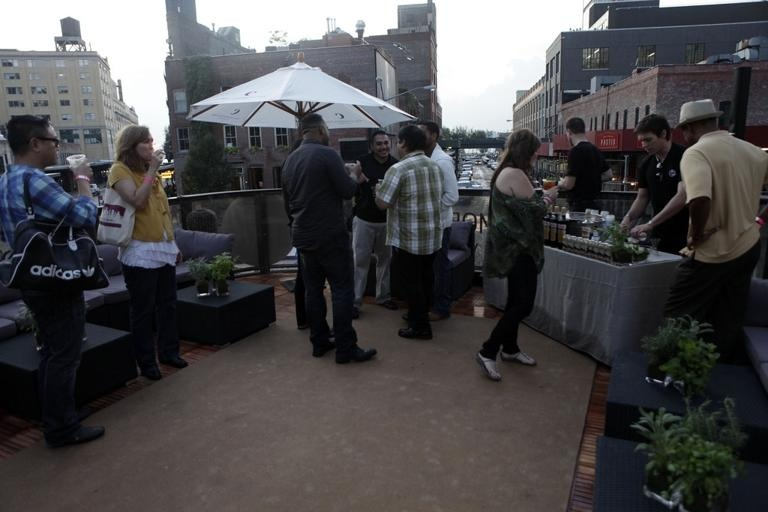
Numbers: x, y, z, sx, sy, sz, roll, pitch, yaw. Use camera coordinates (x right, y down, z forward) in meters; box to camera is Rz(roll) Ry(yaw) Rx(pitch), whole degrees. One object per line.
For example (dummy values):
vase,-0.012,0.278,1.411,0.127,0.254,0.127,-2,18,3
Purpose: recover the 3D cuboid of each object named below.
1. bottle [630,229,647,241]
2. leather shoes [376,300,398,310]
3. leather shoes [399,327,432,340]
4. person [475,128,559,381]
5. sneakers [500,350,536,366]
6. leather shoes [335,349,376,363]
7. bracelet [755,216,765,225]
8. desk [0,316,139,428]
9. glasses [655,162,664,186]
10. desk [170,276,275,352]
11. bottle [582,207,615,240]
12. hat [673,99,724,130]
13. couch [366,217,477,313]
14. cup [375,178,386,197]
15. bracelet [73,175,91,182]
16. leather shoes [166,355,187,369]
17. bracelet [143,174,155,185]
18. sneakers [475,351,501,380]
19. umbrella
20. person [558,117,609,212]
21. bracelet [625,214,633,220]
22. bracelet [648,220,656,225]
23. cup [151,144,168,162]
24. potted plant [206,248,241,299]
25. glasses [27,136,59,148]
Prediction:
bottle,2.509,-0.207,4.778,0.147,0.134,0.107,4,16,23
leather shoes,0.033,0.647,6.473,0.293,0.132,0.112,0,6,17
leather shoes,0.366,0.885,5.589,0.378,0.169,0.145,6,4,7
person,1.182,-0.012,4.649,0.679,2.319,0.472,-7,15,-18
sneakers,1.372,1.031,5.001,0.368,0.153,0.137,1,9,15
leather shoes,-0.308,1.033,5.071,0.409,0.179,0.155,-6,8,-8
bracelet,3.330,-0.317,4.298,0.064,0.021,0.065,43,46,13
desk,-2.977,1.017,4.387,0.770,0.509,0.817,5,12,21
glasses,2.860,-0.876,5.057,0.033,0.143,0.116,5,2,7
desk,-1.948,0.635,5.605,0.752,0.407,0.775,7,13,36
bottle,2.332,-0.342,5.335,0.336,0.171,0.471,1,17,24
hat,2.758,-1.264,4.229,0.269,0.129,0.328,-18,1,44
couch,0.578,0.007,6.938,1.572,1.283,1.085,0,-1,24
cup,-0.043,-0.742,5.270,0.102,0.363,0.123,-4,37,-5
bracelet,-2.488,-0.635,3.963,0.063,0.026,0.065,11,1,15
leather shoes,-2.138,1.100,5.024,0.255,0.112,0.096,1,12,4
bracelet,-2.194,-0.717,4.495,0.078,0.064,0.081,1,8,4
sneakers,1.013,1.075,4.744,0.124,0.140,0.344,0,43,-40
umbrella,-0.873,-1.931,6.123,1.864,0.647,1.894,8,11,43
person,2.653,-1.211,6.425,0.679,1.203,0.454,1,15,11
bracelet,2.648,-0.419,5.235,0.046,0.064,0.040,-2,28,-16
bracelet,2.636,-0.321,4.792,0.013,0.052,0.050,35,-19,-30
cup,-2.126,-0.935,4.534,0.107,0.133,0.219,-9,17,-24
potted plant,-1.974,0.217,5.850,0.406,0.475,0.347,8,20,14
glasses,-2.585,-0.875,3.691,0.073,0.079,0.189,6,17,27
